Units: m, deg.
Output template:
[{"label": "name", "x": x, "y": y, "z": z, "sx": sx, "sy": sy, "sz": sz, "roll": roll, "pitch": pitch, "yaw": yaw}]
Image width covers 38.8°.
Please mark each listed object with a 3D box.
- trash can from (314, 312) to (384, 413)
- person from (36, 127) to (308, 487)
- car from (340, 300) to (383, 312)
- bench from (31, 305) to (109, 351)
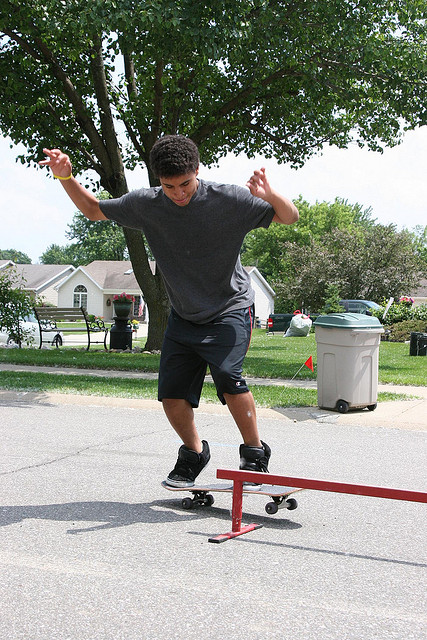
[{"label": "trash can", "x": 1.793, "y": 0.566, "z": 8.128, "sx": 0.809, "sy": 1.239, "sz": 0.887, "roll": -2, "pitch": 3, "yaw": -43}, {"label": "person", "x": -0.179, "y": -0.013, "z": 3.421, "sx": 1.114, "sy": 2.031, "sz": 0.800, "roll": 2, "pitch": -2, "yaw": -12}, {"label": "car", "x": 8.435, "y": -0.880, "z": 35.131, "sx": 1.669, "sy": 0.852, "sz": 2.758, "roll": 2, "pitch": -2, "yaw": -20}, {"label": "bench", "x": -4.994, "y": 0.318, "z": 21.520, "sx": 1.230, "sy": 1.433, "sz": 2.944, "roll": 4, "pitch": 1, "yaw": 22}]
